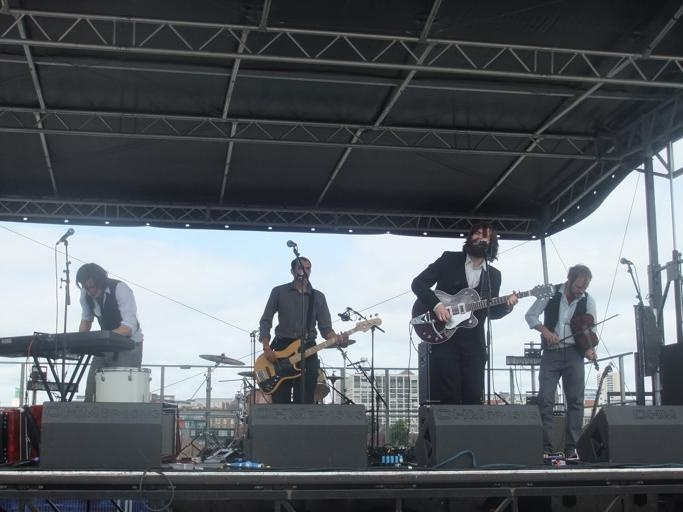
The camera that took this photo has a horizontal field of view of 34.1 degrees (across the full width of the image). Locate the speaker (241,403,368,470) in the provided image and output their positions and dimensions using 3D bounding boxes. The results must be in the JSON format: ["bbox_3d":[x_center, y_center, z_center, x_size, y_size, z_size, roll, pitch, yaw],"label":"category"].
[{"bbox_3d":[-0.308,1.602,9.817,0.891,0.594,0.812,4,-3,-20],"label":"speaker"}]

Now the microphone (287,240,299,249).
[{"bbox_3d":[-0.492,-0.115,11.063,0.100,0.097,0.176,0,-13,-2],"label":"microphone"}]

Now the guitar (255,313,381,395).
[{"bbox_3d":[-0.296,1.023,11.607,1.366,0.487,0.193,-28,-9,-9],"label":"guitar"}]

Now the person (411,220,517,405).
[{"bbox_3d":[1.141,0.660,11.150,0.988,2.443,0.926,4,-2,-20],"label":"person"}]

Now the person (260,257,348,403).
[{"bbox_3d":[-0.452,0.574,11.602,0.737,2.156,0.612,1,-5,-6],"label":"person"}]

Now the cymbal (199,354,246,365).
[{"bbox_3d":[-1.642,1.435,15.296,0.644,0.201,0.378,-1,-13,-1],"label":"cymbal"}]

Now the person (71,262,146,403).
[{"bbox_3d":[-2.383,0.966,11.437,0.677,1.847,0.880,-1,-3,-12],"label":"person"}]

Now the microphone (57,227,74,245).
[{"bbox_3d":[-2.681,-0.181,10.874,0.123,0.143,0.240,9,-16,-38],"label":"microphone"}]

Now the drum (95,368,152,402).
[{"bbox_3d":[-2.011,1.187,10.285,0.502,0.331,0.328,2,-13,-13],"label":"drum"}]

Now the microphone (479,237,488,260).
[{"bbox_3d":[1.384,-0.054,10.822,0.093,0.157,0.156,-2,-12,8],"label":"microphone"}]

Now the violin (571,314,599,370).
[{"bbox_3d":[2.517,0.885,11.577,0.234,0.547,0.164,-13,-14,24],"label":"violin"}]
